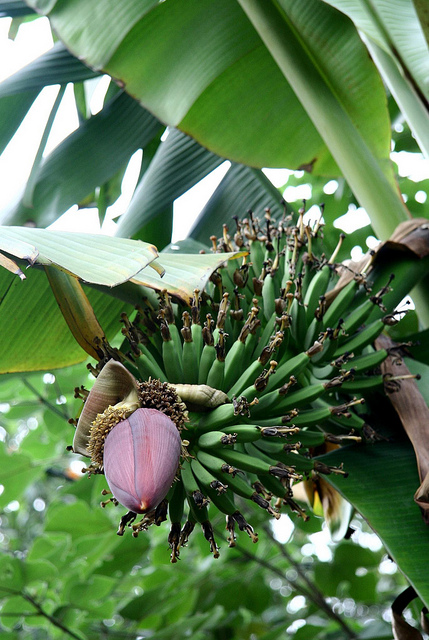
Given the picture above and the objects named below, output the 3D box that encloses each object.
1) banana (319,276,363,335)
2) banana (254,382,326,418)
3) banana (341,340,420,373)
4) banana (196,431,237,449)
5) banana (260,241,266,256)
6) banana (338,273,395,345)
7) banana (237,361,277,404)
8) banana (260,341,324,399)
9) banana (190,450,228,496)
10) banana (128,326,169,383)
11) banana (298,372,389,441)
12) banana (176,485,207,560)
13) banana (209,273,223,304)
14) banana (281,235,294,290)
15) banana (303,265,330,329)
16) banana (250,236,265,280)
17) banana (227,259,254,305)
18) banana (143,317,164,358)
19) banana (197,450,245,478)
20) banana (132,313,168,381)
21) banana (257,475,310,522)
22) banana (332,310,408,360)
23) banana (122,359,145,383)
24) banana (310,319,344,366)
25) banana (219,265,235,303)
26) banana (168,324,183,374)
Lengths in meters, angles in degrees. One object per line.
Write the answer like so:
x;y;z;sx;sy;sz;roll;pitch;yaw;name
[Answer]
0.375;-0.041;1.721;0.225;0.046;0.038;-53;22;-15;banana
0.187;0.204;1.473;0.123;0.037;0.019;-23;34;-14;banana
0.522;0.117;1.761;0.211;0.089;0.311;-28;-12;16;banana
0.003;0.266;1.333;0.041;0.033;0.112;-22;11;-37;banana
0.171;-0.257;2.025;0.013;0.018;0.066;-54;-21;-28;banana
0.446;-0.028;1.714;0.072;0.046;0.266;16;-38;-17;banana
0.100;0.135;1.359;0.039;0.034;0.142;-14;1;42;banana
0.203;0.136;1.522;0.230;0.039;0.038;-40;8;0;banana
-0.007;0.332;1.347;0.043;0.151;0.058;-19;-47;-23;banana
-0.175;0.094;1.522;0.024;0.166;0.025;-40;-3;24;banana
0.330;0.319;1.881;0.102;0.102;0.653;-24;-15;-22;banana
-0.052;0.463;1.373;0.037;0.206;0.035;10;-15;38;banana
0.003;-0.094;1.702;0.109;0.031;0.023;97;-167;-59;banana
0.225;-0.168;1.802;0.032;0.139;0.033;13;-13;-11;banana
0.302;-0.075;1.783;0.057;0.210;0.078;-1;-34;35;banana
0.131;-0.206;1.907;0.041;0.141;0.058;-1;-24;2;banana
0.077;-0.114;1.761;0.042;0.160;0.062;-16;-24;-25;banana
-0.172;0.039;1.663;0.034;0.161;0.044;-17;-32;-7;banana
0.001;0.322;1.333;0.053;0.035;0.133;31;-7;-41;banana
-0.174;0.077;1.554;0.034;0.185;0.027;-23;5;30;banana
0.168;0.443;1.433;0.061;0.116;0.172;-27;-11;-4;banana
0.426;0.028;1.679;0.235;0.087;0.045;-18;27;-4;banana
-0.200;0.127;1.431;0.018;0.071;0.016;-53;2;-23;banana
0.314;0.063;1.622;0.133;0.036;0.057;-61;-5;29;banana
0.038;-0.117;1.794;0.036;0.121;0.044;-11;-3;-1;banana
-0.099;0.081;1.531;0.029;0.136;0.037;-15;21;-41;banana
